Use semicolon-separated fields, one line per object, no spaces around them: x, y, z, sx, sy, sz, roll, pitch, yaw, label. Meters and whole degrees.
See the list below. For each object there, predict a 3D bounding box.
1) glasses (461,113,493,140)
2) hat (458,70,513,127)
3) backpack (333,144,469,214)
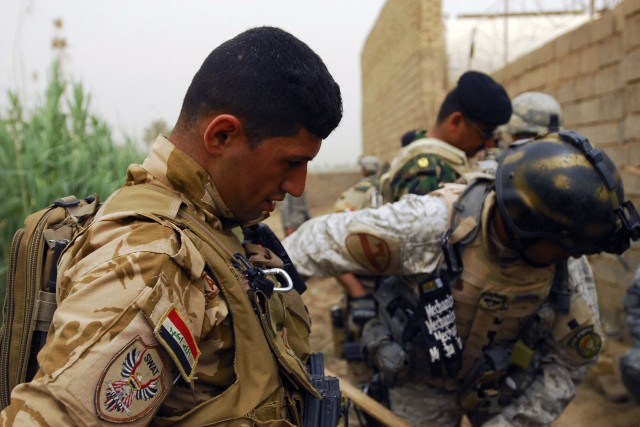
1.077;-0.592;4.983;0.169;0.050;0.163;48;16;18;glasses
1.107;-0.786;4.850;0.397;0.352;0.108;31;-44;-13;hat
0.624;-0.277;5.134;0.690;0.314;0.679;-24;5;22;backpack
